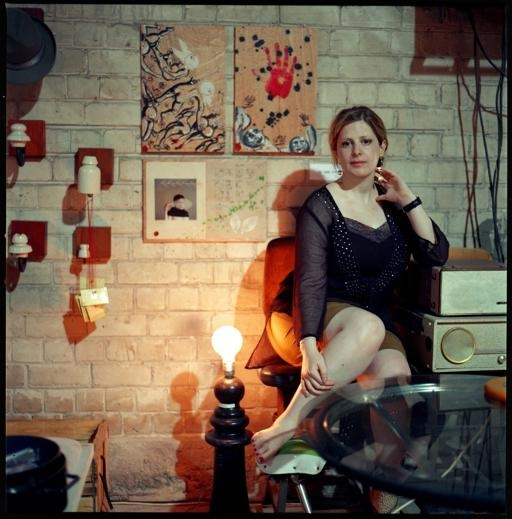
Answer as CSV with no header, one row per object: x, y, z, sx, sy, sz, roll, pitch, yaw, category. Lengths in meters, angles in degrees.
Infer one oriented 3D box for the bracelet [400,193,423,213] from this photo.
0.509,-0.177,2.075,0.060,0.058,0.040,40,22,-58,bracelet

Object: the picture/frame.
-0.305,-0.238,2.401,0.280,0.385,0.017,0,2,0,picture/frame

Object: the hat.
-0.806,-0.745,2.266,0.121,0.248,0.163,26,22,22,hat
